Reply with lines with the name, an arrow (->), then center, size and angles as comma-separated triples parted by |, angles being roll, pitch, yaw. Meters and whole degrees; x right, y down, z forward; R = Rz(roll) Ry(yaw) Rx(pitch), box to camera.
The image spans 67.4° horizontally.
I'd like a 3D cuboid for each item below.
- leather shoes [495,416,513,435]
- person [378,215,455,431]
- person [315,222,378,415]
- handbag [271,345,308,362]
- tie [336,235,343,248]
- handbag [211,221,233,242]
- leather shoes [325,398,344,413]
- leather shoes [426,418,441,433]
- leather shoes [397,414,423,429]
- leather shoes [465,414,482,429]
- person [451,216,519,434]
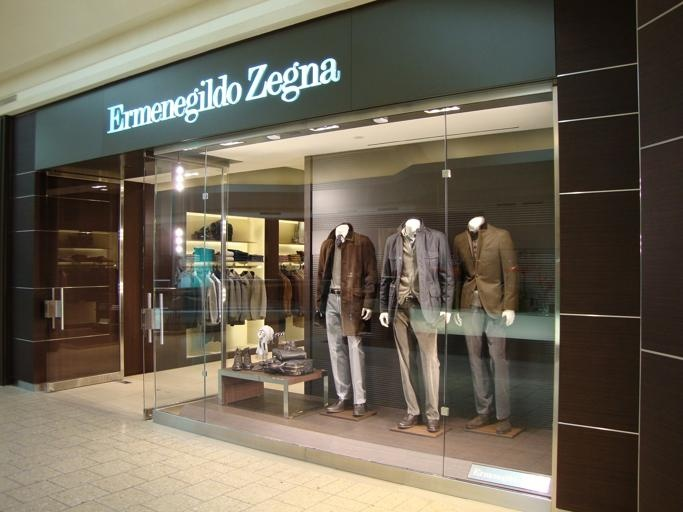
leather shoes -> 1.153, 1.212, 3.651 | 0.075, 0.124, 0.126 | -6, -14, 38
person -> 0.594, 0.512, 4.092 | 0.231, 1.597, 0.617 | -6, 6, -37
person -> 0.031, 0.544, 4.431 | 0.567, 1.616, 0.229 | 3, 7, 43
handbag -> -0.469, 0.876, 4.708 | 0.234, 0.102, 0.149 | 0, 0, -17
tie -> -0.019, -0.130, 4.444 | 0.058, 0.077, 0.018 | -2, -6, 42
handbag -> -1.200, -0.256, 5.173 | 0.193, 0.189, 0.106 | 0, -4, 24
leather shoes -> -0.065, 1.309, 4.465 | 0.153, 0.063, 0.087 | 2, -6, -13
leather shoes -> 0.703, 1.289, 3.915 | 0.082, 0.086, 0.200 | -1, -15, 5
leather shoes -> 0.541, 1.312, 4.058 | 0.201, 0.083, 0.085 | -1, -2, 16
leather shoes -> 0.959, 1.208, 3.732 | 0.138, 0.058, 0.054 | 1, -1, -42
person -> 1.049, 0.486, 3.742 | 0.442, 1.524, 0.253 | 0, 5, 19
